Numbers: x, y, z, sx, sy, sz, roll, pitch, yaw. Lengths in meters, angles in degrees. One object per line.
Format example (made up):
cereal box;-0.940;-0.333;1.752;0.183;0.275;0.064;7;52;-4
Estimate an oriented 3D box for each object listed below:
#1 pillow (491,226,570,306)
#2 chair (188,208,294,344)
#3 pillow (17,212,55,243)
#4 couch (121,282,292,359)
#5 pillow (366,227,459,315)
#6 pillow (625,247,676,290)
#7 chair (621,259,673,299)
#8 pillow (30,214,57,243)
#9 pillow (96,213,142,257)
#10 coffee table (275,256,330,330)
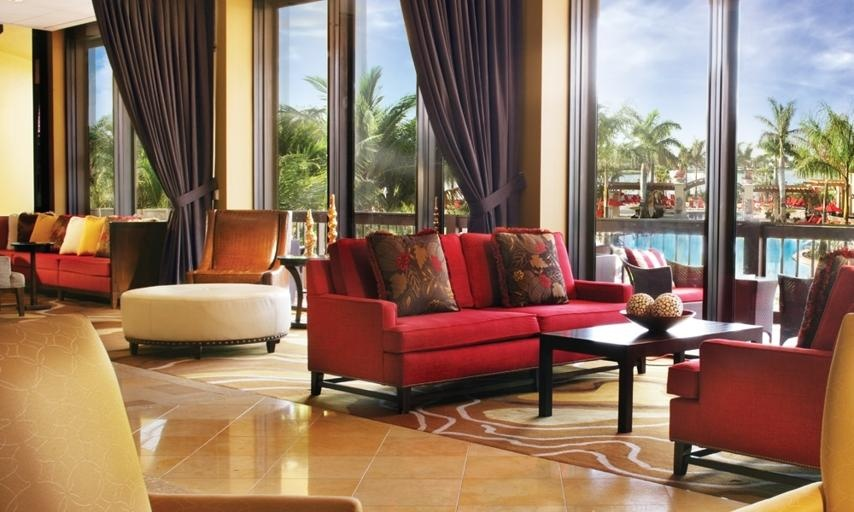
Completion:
pillow;0.796;0.067;4.996;0.712;0.594;0.199;-3;-20;-27
chair;-2.038;0.148;6.732;0.986;1.166;0.755;1;11;7
pillow;-5.813;-0.430;9.130;0.608;0.526;0.228;-1;-8;24
couch;-2.104;0.557;5.880;1.473;0.466;1.433;2;3;23
pillow;-0.170;0.106;4.622;0.881;0.757;0.230;16;-27;-40
pillow;2.055;0.110;5.660;0.479;0.203;0.402;-3;28;-9
chair;1.917;0.209;5.751;0.331;0.283;0.322;-25;-10;28
pillow;-5.602;-0.403;9.024;0.433;0.465;0.198;6;-12;39
pillow;-4.157;-0.286;8.141;0.244;0.524;0.579;10;-5;-35
coffee table;-1.482;0.432;6.991;0.649;0.676;0.637;4;-5;-30
